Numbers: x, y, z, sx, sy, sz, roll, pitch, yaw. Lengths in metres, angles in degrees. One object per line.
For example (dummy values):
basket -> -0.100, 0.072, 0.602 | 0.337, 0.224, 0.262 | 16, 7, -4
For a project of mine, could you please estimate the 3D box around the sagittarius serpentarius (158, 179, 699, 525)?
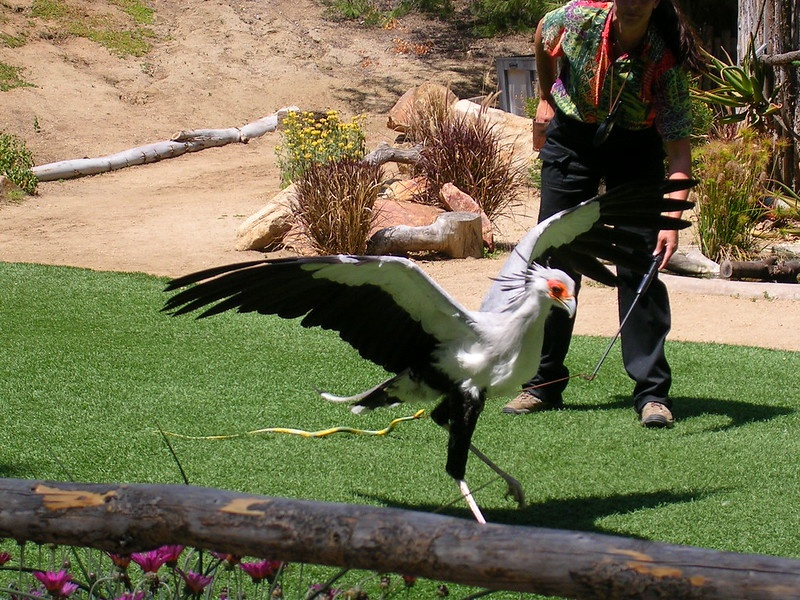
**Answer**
sagittarius serpentarius -> 0.428, 0.345, 12.751 | 3.805, 2.276, 0.905 | -8, 14, -15

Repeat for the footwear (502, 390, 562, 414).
footwear -> 1.137, 0.905, 13.848 | 0.569, 0.190, 0.193 | 2, 0, -9
